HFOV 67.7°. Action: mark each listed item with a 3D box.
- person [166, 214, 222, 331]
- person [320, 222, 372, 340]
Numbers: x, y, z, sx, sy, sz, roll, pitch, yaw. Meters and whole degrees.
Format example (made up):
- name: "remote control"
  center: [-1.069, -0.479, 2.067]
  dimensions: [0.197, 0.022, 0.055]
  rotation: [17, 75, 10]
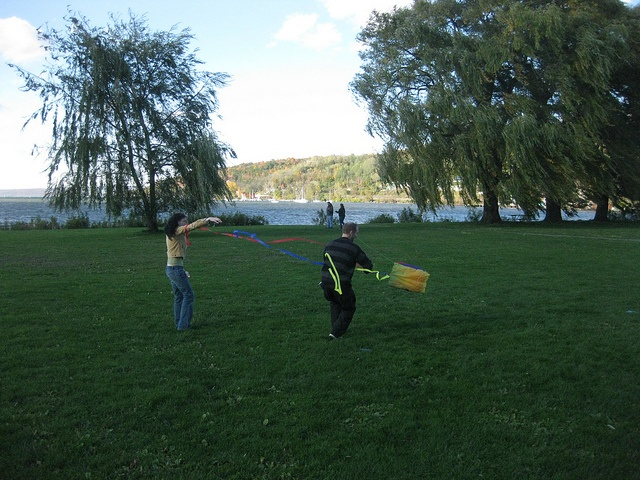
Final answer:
- name: "person"
  center: [-2.913, 0.673, 9.976]
  dimensions: [0.525, 2.364, 0.718]
  rotation: [-5, 13, -23]
- name: "person"
  center: [0.484, 0.810, 9.553]
  dimensions: [0.898, 2.261, 0.698]
  rotation: [0, 12, -1]
